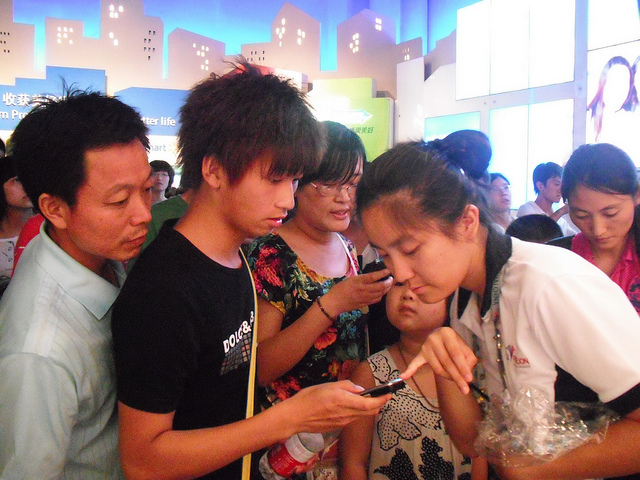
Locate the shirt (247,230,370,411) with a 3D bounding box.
[{"bbox_3d":[-0.066,0.331,2.009,0.353,0.689,0.687,-1,-1,34],"label":"shirt"}]

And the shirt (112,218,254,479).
[{"bbox_3d":[-0.423,0.297,1.680,0.231,0.670,0.525,10,16,38],"label":"shirt"}]

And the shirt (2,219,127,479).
[{"bbox_3d":[-0.820,0.385,1.636,0.334,0.846,0.403,-4,13,-16],"label":"shirt"}]

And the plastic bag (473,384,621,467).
[{"bbox_3d":[0.682,0.563,1.574,0.319,0.144,0.243,-15,26,20],"label":"plastic bag"}]

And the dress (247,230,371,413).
[{"bbox_3d":[-0.064,0.332,2.005,0.368,0.687,0.688,-1,-1,36],"label":"dress"}]

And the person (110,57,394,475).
[{"bbox_3d":[-0.282,0.045,1.638,0.754,1.265,0.594,-5,13,-20],"label":"person"}]

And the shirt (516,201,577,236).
[{"bbox_3d":[1.720,-0.162,3.870,0.372,0.225,0.283,4,31,29],"label":"shirt"}]
